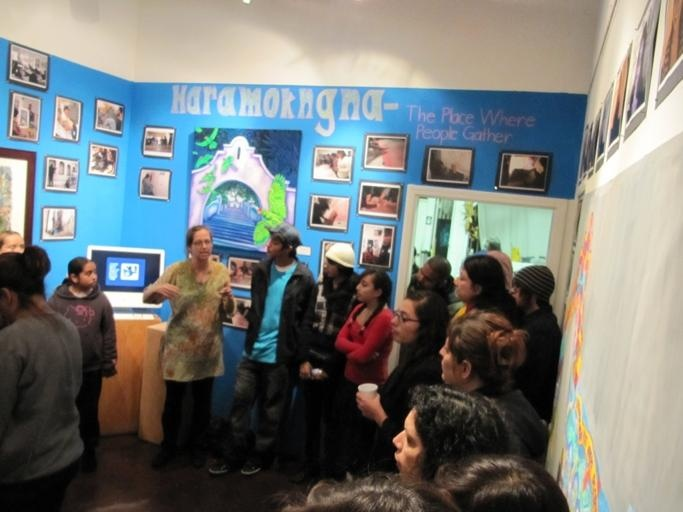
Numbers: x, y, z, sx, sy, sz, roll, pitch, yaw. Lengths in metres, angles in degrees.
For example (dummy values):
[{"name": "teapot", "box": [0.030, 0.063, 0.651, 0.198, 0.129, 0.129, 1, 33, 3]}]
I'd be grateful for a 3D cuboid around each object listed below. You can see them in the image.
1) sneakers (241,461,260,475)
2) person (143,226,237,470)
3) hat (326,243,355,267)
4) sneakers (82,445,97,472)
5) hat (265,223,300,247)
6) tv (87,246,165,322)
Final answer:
[{"name": "sneakers", "box": [-0.714, 1.682, 3.832, 0.168, 0.104, 0.124, 4, 6, -10]}, {"name": "person", "box": [-1.231, 0.711, 3.902, 0.645, 1.915, 0.404, 3, 5, -21]}, {"name": "hat", "box": [-0.027, -0.014, 3.777, 0.193, 0.140, 0.178, 17, 2, 29]}, {"name": "sneakers", "box": [-1.899, 1.539, 3.654, 0.100, 0.165, 0.085, 2, 6, -29]}, {"name": "hat", "box": [-0.470, -0.144, 3.889, 0.215, 0.120, 0.162, 29, 0, -20]}, {"name": "tv", "box": [-1.950, 0.213, 4.385, 0.618, 0.579, 0.256, 4, -8, -34]}]
